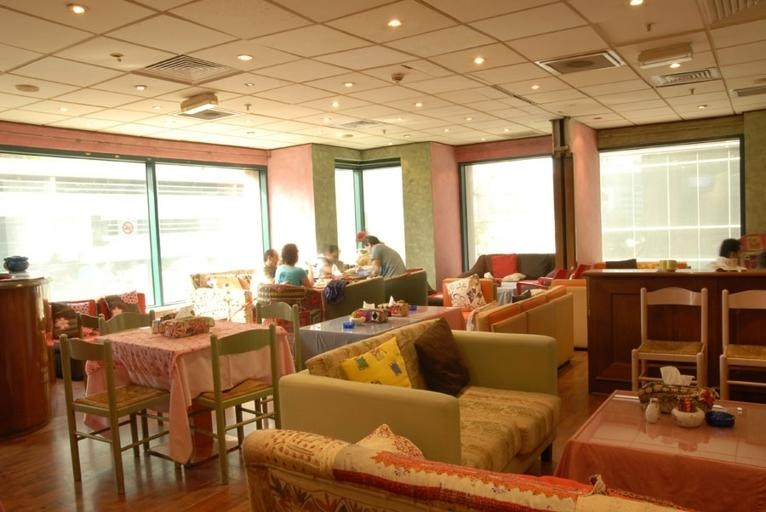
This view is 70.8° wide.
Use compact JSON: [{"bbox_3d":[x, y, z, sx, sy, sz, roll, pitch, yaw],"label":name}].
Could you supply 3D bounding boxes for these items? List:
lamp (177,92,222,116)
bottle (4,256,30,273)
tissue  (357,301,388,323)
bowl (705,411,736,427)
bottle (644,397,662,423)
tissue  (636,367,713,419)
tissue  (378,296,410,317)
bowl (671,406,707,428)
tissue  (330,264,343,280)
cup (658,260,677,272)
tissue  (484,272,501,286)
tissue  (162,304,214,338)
[{"bbox_3d":[-2.415,-2.047,7.257,0.560,0.162,0.184,-7,-11,42],"label":"lamp"},{"bbox_3d":[-4.347,0.104,6.394,0.259,0.154,0.251,-1,-2,0],"label":"bottle"},{"bbox_3d":[-0.091,0.621,5.953,0.235,0.128,0.224,0,-1,18],"label":"tissue "},{"bbox_3d":[2.339,1.124,3.751,0.149,0.090,0.187,-1,3,45],"label":"bowl"},{"bbox_3d":[1.924,1.102,3.863,0.095,0.138,0.186,-2,3,28],"label":"bottle"},{"bbox_3d":[2.117,0.976,3.947,0.452,0.160,0.346,0,5,36],"label":"tissue "},{"bbox_3d":[0.119,0.573,6.144,0.271,0.181,0.262,1,-2,-44],"label":"tissue "},{"bbox_3d":[2.107,1.099,3.720,0.156,0.067,0.142,-1,-3,0],"label":"bowl"},{"bbox_3d":[-0.887,0.305,10.285,0.202,0.376,0.221,-15,11,-8],"label":"tissue "},{"bbox_3d":[3.037,0.105,5.760,0.174,0.110,0.157,-2,0,9],"label":"cup"},{"bbox_3d":[1.781,0.392,9.041,0.311,0.241,0.409,-2,-2,23],"label":"tissue "},{"bbox_3d":[-1.876,0.607,5.079,0.326,0.179,0.326,1,2,36],"label":"tissue "}]
